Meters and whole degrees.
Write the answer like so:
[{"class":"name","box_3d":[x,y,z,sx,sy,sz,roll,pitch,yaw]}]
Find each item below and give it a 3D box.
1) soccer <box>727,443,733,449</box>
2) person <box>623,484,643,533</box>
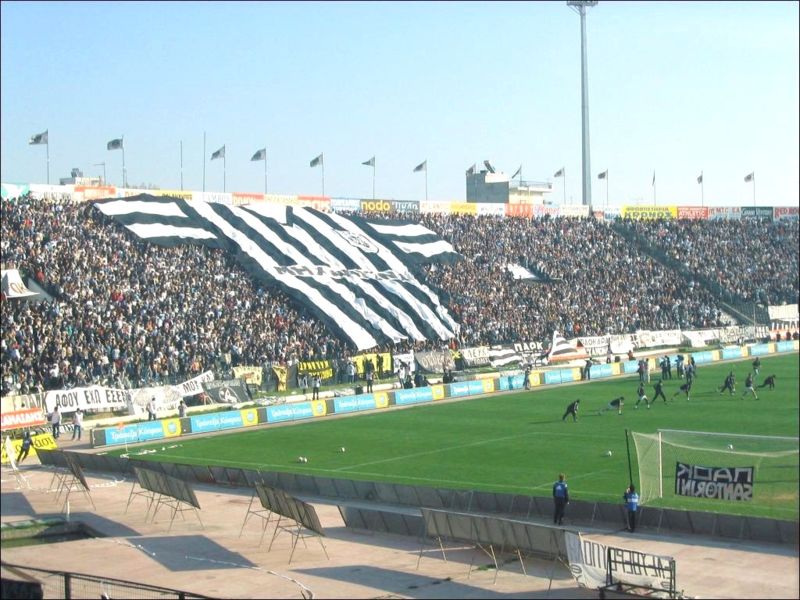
[{"class":"soccer","box_3d":[16.433,7.271,85.845,0.182,0.224,0.174,1,2,30]},{"class":"person","box_3d":[11.097,9.989,82.853,0.652,2.164,0.746,3,10,19]}]
